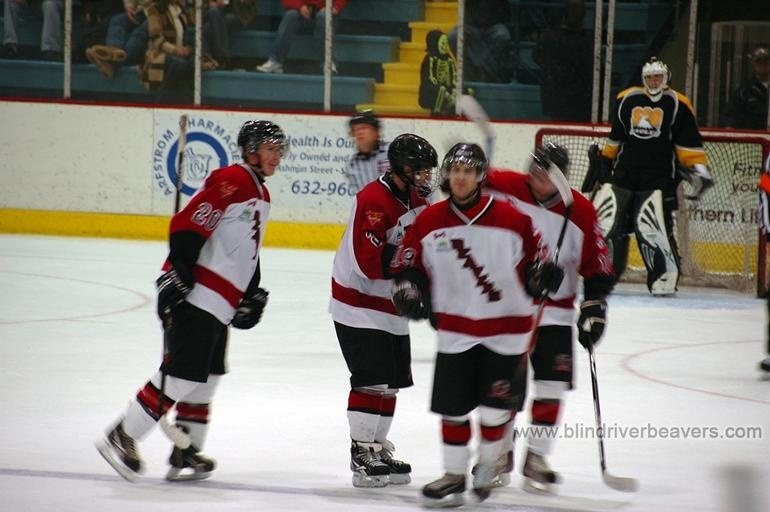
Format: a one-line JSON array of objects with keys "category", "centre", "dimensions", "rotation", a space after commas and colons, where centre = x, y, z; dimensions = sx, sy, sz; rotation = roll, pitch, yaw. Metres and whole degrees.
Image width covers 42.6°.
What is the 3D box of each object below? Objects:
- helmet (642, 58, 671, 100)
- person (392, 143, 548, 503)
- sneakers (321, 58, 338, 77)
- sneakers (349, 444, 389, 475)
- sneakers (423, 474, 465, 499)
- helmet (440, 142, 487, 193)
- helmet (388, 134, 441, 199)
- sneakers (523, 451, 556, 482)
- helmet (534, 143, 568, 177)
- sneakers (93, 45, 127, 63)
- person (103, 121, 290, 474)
[{"category": "helmet", "centre": [2.548, -1.675, 9.353], "dimensions": [0.236, 0.404, 0.157], "rotation": [6, 10, 21]}, {"category": "person", "centre": [0.431, 0.349, 4.991], "dimensions": [0.857, 1.801, 0.400], "rotation": [4, 10, 8]}, {"category": "sneakers", "centre": [-0.665, -2.207, 11.559], "dimensions": [0.242, 0.215, 0.105], "rotation": [-2, 20, -11]}, {"category": "sneakers", "centre": [-0.079, 1.069, 5.197], "dimensions": [0.209, 0.174, 0.097], "rotation": [2, 9, 0]}, {"category": "sneakers", "centre": [0.307, 1.169, 5.014], "dimensions": [0.229, 0.089, 0.101], "rotation": [-6, -12, -9]}, {"category": "helmet", "centre": [0.413, -0.447, 5.091], "dimensions": [0.229, 0.253, 0.263], "rotation": [0, -11, 13]}, {"category": "helmet", "centre": [0.146, -0.475, 5.173], "dimensions": [0.328, 0.293, 0.242], "rotation": [0, 11, 0]}, {"category": "sneakers", "centre": [0.783, 1.113, 5.188], "dimensions": [0.210, 0.184, 0.094], "rotation": [7, -2, 6]}, {"category": "helmet", "centre": [0.904, -0.520, 5.261], "dimensions": [0.150, 0.174, 0.188], "rotation": [4, 13, 17]}, {"category": "sneakers", "centre": [-3.299, -2.452, 11.990], "dimensions": [0.456, 0.156, 0.189], "rotation": [7, 23, 3]}, {"category": "person", "centre": [-0.986, 0.224, 5.214], "dimensions": [0.968, 1.873, 0.397], "rotation": [-1, 10, -18]}]
